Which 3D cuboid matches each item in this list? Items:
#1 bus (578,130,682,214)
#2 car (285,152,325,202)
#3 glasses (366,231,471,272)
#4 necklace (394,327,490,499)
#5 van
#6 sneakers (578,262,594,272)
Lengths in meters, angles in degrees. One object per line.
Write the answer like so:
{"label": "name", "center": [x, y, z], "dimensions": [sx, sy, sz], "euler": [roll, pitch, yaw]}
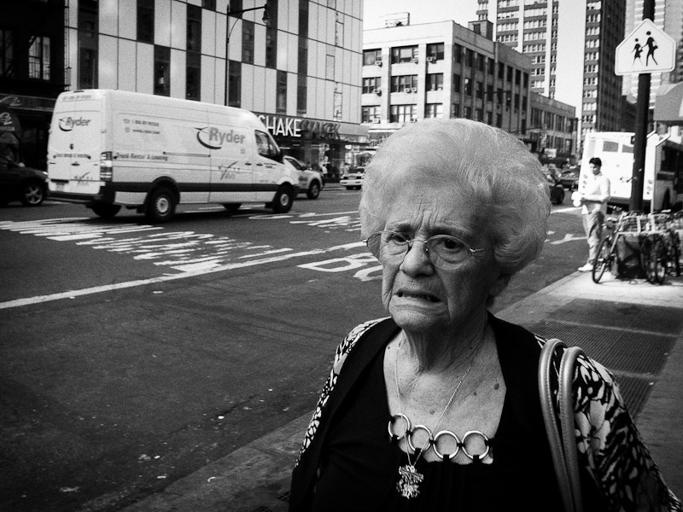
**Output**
{"label": "bus", "center": [11.920, -3.758, 26.617], "dimensions": [4.249, 3.916, 6.995], "euler": [6, 12, 35]}
{"label": "car", "center": [-2.182, -3.505, 29.183], "dimensions": [2.734, 1.550, 1.296], "euler": [-9, 12, -42]}
{"label": "glasses", "center": [0.264, -0.017, 1.878], "dimensions": [0.308, 0.099, 0.078], "euler": [4, 8, 12]}
{"label": "necklace", "center": [0.283, 0.460, 1.872], "dimensions": [0.286, 0.416, 0.284], "euler": [2, 8, 5]}
{"label": "van", "center": [-4.683, -2.986, 19.363], "dimensions": [2.562, 3.445, 7.967], "euler": [8, 11, 40]}
{"label": "sneakers", "center": [4.694, 0.229, 12.109], "dimensions": [0.155, 0.133, 0.282], "euler": [-9, 4, 45]}
